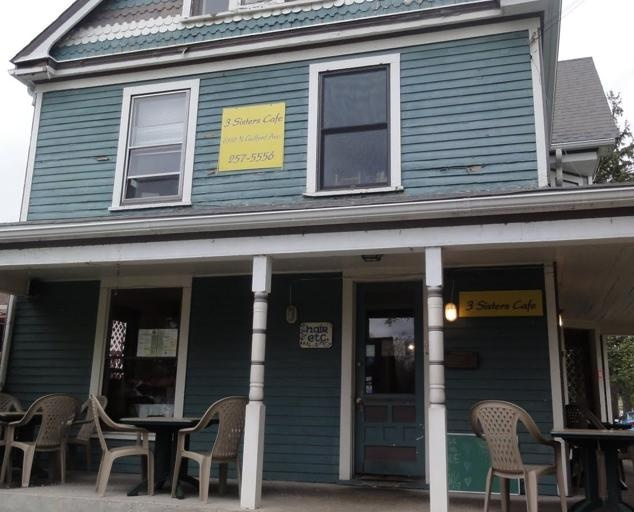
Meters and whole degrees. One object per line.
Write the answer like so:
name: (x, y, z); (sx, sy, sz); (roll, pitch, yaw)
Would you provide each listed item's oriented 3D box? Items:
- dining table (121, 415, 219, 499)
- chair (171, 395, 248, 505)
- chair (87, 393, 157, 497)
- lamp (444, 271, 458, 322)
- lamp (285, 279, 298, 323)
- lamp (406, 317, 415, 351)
dining table: (-1.950, 2.505, 7.649); (1.096, 1.006, 1.098); (-4, -13, 18)
chair: (-1.355, 2.542, 7.590); (0.961, 1.516, 1.130); (-10, -21, 26)
chair: (-2.657, 2.494, 8.023); (0.882, 1.256, 2.108); (7, -18, -19)
lamp: (1.902, 0.613, 8.531); (0.184, 0.658, 0.223); (-6, -18, 21)
lamp: (-0.386, 0.731, 9.213); (0.177, 0.662, 0.090); (-8, -19, 26)
lamp: (1.394, 1.161, 8.837); (0.124, 0.509, 0.045); (-5, -18, 18)
